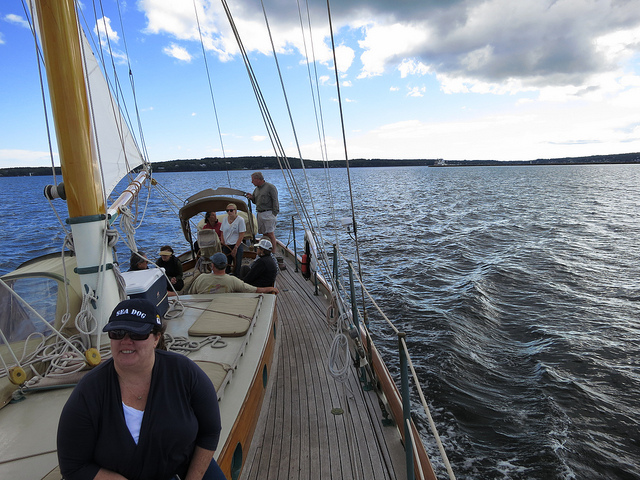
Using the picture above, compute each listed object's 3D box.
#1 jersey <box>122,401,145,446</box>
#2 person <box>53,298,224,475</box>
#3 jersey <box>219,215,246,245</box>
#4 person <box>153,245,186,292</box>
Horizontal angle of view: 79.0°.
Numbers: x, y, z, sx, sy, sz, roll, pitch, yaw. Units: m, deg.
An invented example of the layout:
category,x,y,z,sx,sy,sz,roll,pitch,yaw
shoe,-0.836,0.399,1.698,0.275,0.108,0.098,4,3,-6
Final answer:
category,x,y,z,sx,sy,sz,roll,pitch,yaw
jersey,-1.075,1.056,2.239,0.101,0.238,0.057,-7,12,-6
person,-1.086,0.941,2.309,0.876,1.138,0.281,-9,12,-13
jersey,-1.738,-0.183,7.668,0.537,0.582,0.303,2,-6,14
person,-2.553,0.486,6.441,0.561,0.797,0.473,-4,19,-6
